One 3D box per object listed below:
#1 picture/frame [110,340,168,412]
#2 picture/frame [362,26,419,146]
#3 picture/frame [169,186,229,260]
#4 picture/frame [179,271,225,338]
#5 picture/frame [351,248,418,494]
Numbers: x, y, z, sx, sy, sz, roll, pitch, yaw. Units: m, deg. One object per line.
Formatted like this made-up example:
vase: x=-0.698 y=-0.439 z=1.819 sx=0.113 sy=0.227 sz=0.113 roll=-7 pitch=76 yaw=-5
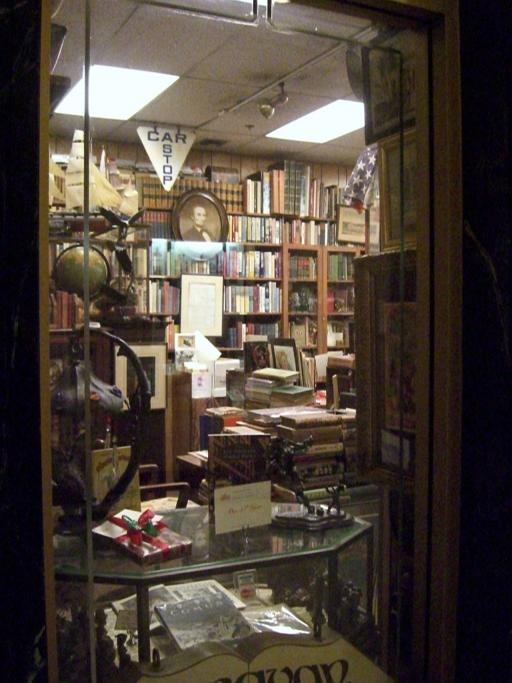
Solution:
picture/frame: x=-0.217 y=0.066 z=1.190 sx=0.099 sy=0.177 sz=0.012 roll=3 pitch=-51 yaw=-15
picture/frame: x=0.287 y=-0.551 z=1.333 sx=0.027 sy=0.284 sz=0.155 roll=-2 pitch=-1 yaw=-34
picture/frame: x=-0.118 y=-0.236 z=1.244 sx=0.106 sy=0.155 sz=0.012 roll=-1 pitch=1 yaw=-43
picture/frame: x=-0.109 y=-0.077 z=1.264 sx=0.091 sy=0.015 sz=0.169 roll=-2 pitch=-43 yaw=-10
picture/frame: x=0.331 y=0.086 z=1.402 sx=0.208 sy=0.577 sz=0.067 roll=4 pitch=-31 yaw=9
